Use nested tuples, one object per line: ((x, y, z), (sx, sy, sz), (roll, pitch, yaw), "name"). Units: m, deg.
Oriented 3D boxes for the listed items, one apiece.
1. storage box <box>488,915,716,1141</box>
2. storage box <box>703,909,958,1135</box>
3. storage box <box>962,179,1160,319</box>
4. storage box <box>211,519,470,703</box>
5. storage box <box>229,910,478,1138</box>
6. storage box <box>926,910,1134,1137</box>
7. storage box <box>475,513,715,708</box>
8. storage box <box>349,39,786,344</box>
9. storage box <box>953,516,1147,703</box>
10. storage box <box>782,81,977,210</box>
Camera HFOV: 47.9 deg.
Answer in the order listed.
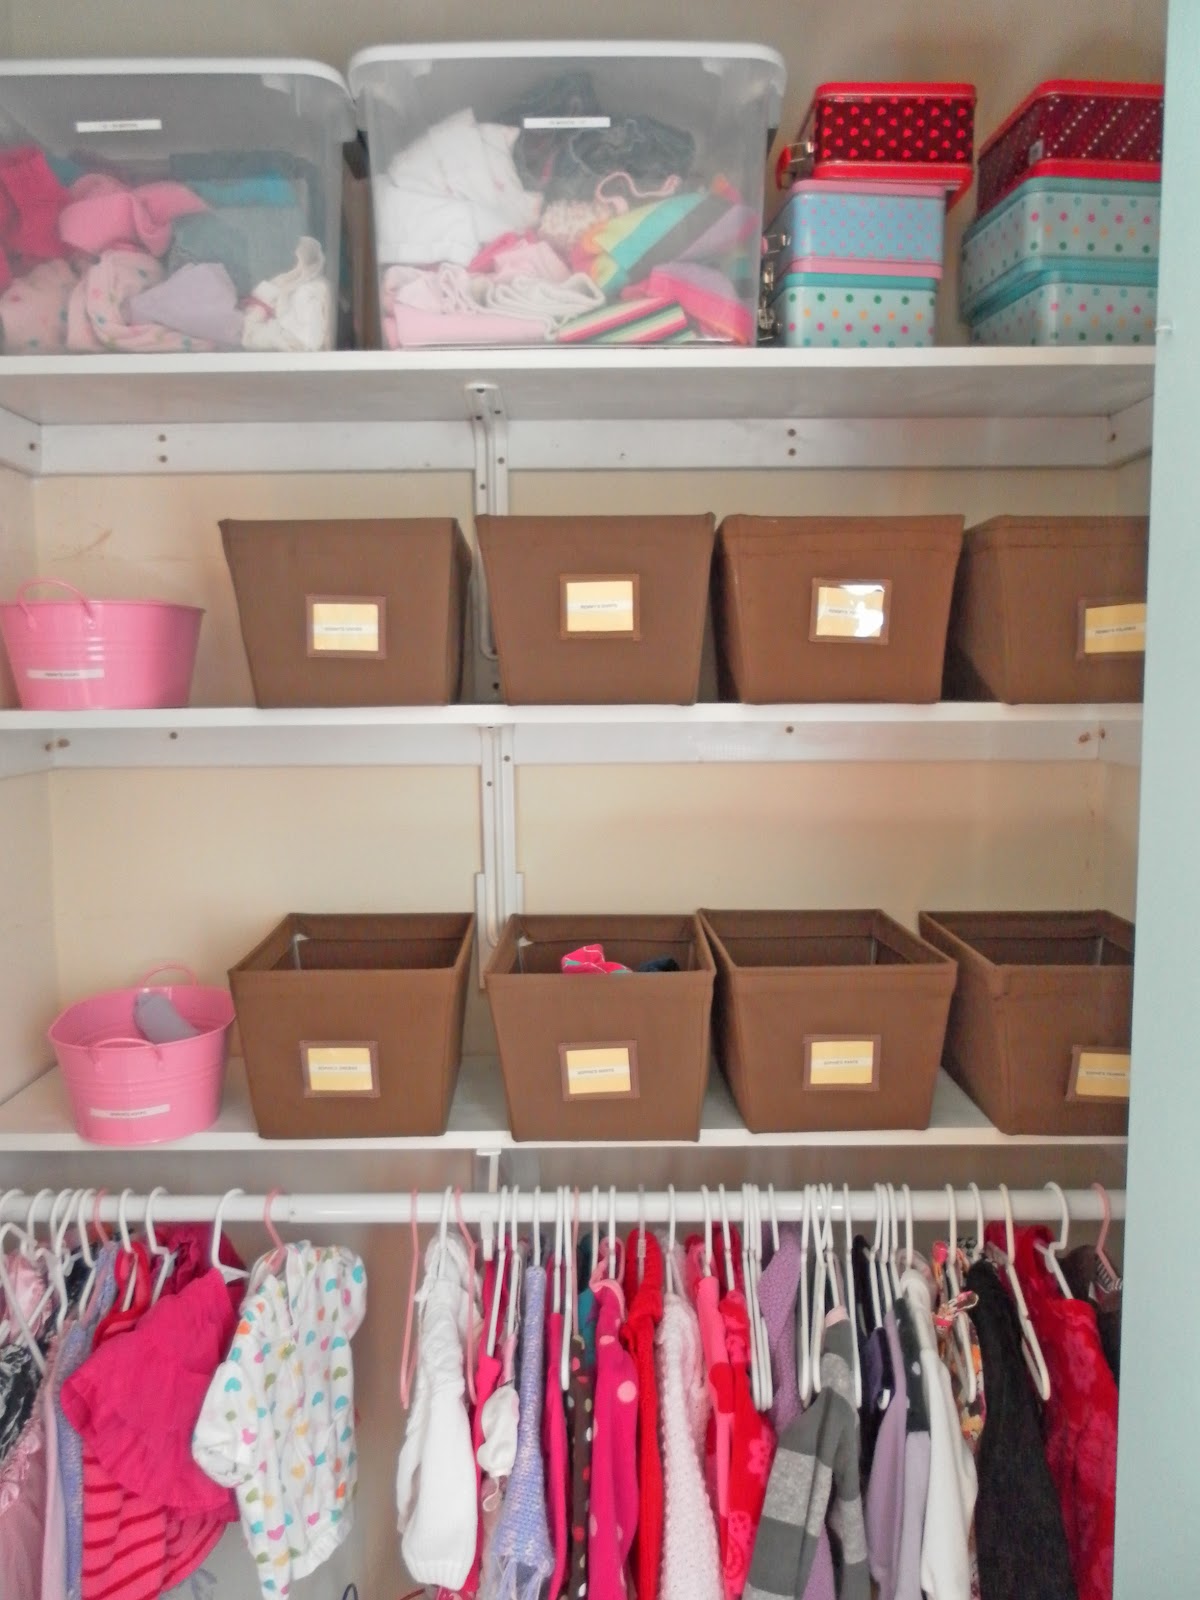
((0.008, 0.272, 1.719), (0.265, 0.226, 0.325), (-3, 12, 3), "storage box")
((0.282, 0.266, 1.739), (0.287, 0.217, 0.332), (-2, 12, 4), "storage box")
((0.557, -0.679, 1.604), (0.132, 0.083, 0.189), (-2, 13, -5), "storage box")
((-0.288, -0.213, 1.555), (0.194, 0.164, 0.246), (0, 10, -1), "storage box")
((-0.297, 0.268, 1.716), (0.233, 0.197, 0.293), (0, 0, -2), "storage box")
((0.546, 0.281, 1.726), (0.191, 0.157, 0.294), (0, -1, -2), "storage box")
((-0.005, -0.218, 1.553), (0.215, 0.166, 0.222), (-1, 8, -2), "storage box")
((-0.029, -0.644, 1.510), (0.418, 0.275, 0.301), (-1, 8, -1), "storage box")
((0.537, -0.230, 1.650), (0.200, 0.146, 0.210), (-1, 5, 1), "storage box")
((0.326, -0.740, 1.571), (0.148, 0.077, 0.153), (-1, 17, -2), "storage box")
